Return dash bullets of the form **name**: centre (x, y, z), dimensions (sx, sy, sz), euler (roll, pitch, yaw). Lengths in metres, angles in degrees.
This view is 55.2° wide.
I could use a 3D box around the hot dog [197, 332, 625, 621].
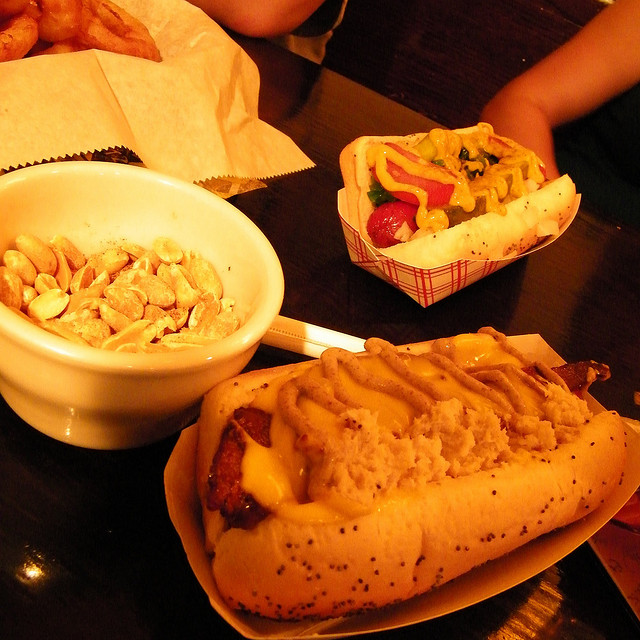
- **hot dog**: centre (0.130, 0.178, 0.819), dimensions (0.534, 0.253, 0.329), euler (-15, 36, -30)
